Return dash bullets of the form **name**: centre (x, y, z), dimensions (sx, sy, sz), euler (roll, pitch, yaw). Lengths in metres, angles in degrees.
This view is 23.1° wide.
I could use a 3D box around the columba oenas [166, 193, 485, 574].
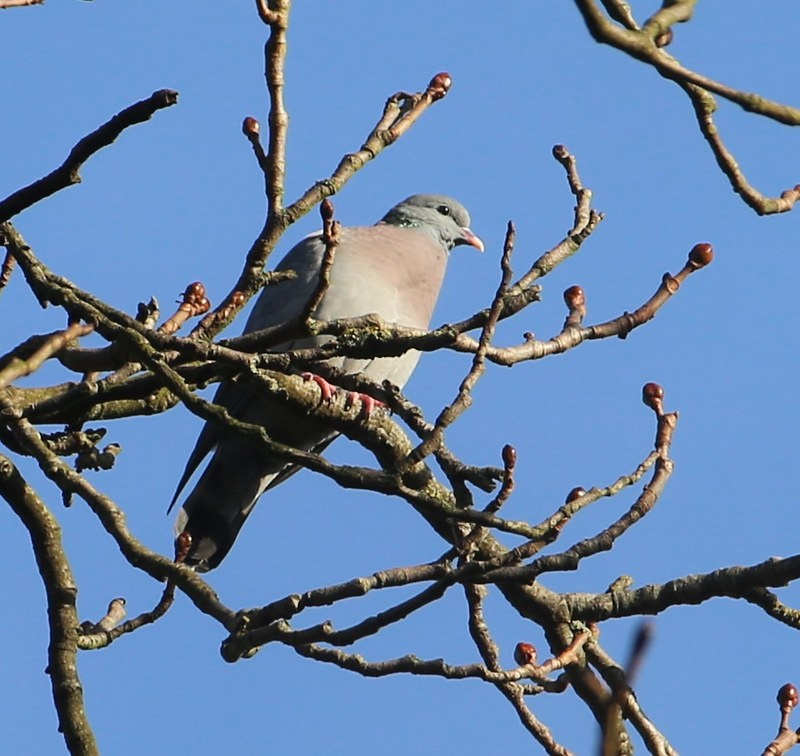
- **columba oenas**: centre (-0.287, -0.093, 8.379), dimensions (1.302, 1.462, 0.637), euler (-30, -66, 38)
